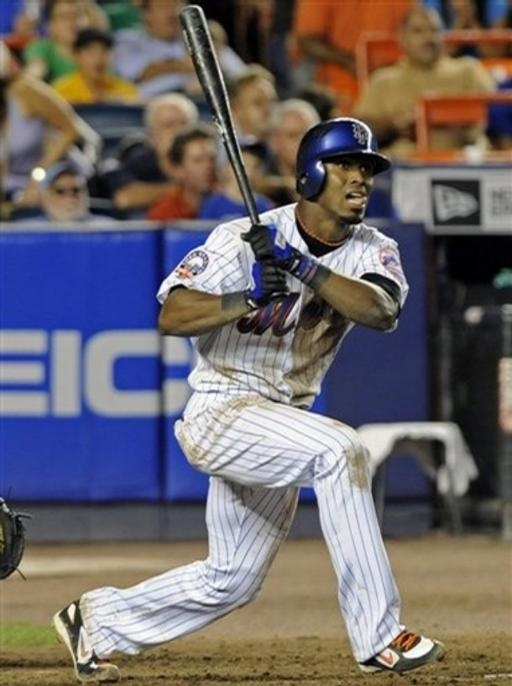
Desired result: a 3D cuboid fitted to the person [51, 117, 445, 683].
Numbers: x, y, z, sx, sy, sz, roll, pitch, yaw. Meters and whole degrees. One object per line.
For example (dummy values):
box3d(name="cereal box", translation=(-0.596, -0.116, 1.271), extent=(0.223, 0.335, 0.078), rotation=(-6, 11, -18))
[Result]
box3d(name="person", translation=(-0.026, 0.194, 4.288), extent=(1.034, 1.687, 0.445), rotation=(-4, 5, 5))

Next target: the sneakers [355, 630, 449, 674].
box3d(name="sneakers", translation=(0.426, 0.887, 4.171), extent=(0.274, 0.114, 0.102), rotation=(-19, 0, 23))

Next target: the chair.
box3d(name="chair", translation=(-1.069, -1.019, 7.910), extent=(0.696, 0.799, 0.725), rotation=(1, 1, -2))

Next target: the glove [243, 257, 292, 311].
box3d(name="glove", translation=(0.027, -0.165, 4.069), extent=(0.111, 0.132, 0.057), rotation=(9, 2, 5))

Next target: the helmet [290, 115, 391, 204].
box3d(name="helmet", translation=(0.230, -0.539, 4.377), extent=(0.233, 0.224, 0.292), rotation=(5, -11, -39))
